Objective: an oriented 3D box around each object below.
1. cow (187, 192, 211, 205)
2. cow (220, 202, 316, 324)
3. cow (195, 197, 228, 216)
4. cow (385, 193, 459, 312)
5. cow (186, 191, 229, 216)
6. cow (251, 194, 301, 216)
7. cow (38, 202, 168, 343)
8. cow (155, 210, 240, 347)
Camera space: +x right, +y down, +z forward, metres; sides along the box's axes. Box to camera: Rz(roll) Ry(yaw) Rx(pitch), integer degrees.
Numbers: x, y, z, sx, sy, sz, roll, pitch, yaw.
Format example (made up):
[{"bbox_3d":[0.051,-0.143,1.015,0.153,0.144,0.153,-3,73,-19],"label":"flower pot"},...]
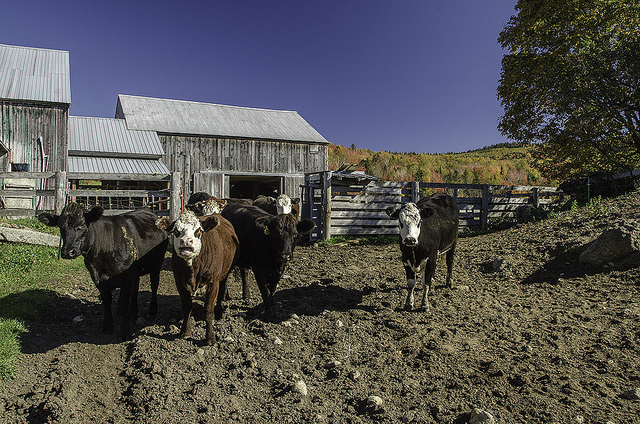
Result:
[{"bbox_3d":[-4.235,-0.509,14.311,0.549,0.278,0.768,-7,7,4],"label":"cow"},{"bbox_3d":[-1.571,1.232,10.094,1.251,2.562,4.131,-3,4,-32],"label":"cow"},{"bbox_3d":[-3.064,-0.170,11.971,0.646,0.347,0.705,4,5,41],"label":"cow"},{"bbox_3d":[2.804,0.982,10.682,1.285,2.760,4.498,2,5,28],"label":"cow"},{"bbox_3d":[-3.521,-0.227,12.273,1.140,0.425,1.224,9,9,17],"label":"cow"},{"bbox_3d":[-1.453,-0.262,13.785,0.740,1.106,1.904,-4,3,-33],"label":"cow"},{"bbox_3d":[-4.473,1.260,9.002,1.325,2.950,4.058,-2,-1,0],"label":"cow"},{"bbox_3d":[-2.524,1.358,8.844,1.229,2.589,4.050,2,-1,-6],"label":"cow"}]
